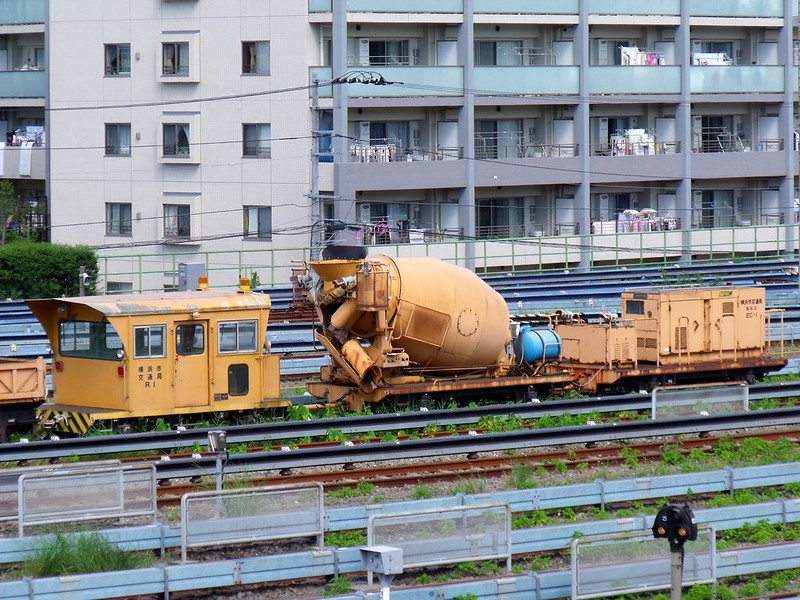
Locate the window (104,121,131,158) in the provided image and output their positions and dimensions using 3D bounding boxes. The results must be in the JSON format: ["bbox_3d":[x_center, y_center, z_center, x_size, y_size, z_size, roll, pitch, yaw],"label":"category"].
[{"bbox_3d":[-11.439,-6.337,75.168,1.356,1.358,0.072,7,15,27],"label":"window"}]

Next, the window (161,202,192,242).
[{"bbox_3d":[-8.968,-2.991,74.329,1.524,1.547,0.085,3,9,20],"label":"window"}]

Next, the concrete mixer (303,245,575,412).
[{"bbox_3d":[0.957,0.917,53.649,8.137,4.040,3.373,0,1,-42],"label":"concrete mixer"}]

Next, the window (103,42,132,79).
[{"bbox_3d":[-11.395,-9.416,74.873,1.470,1.414,0.113,2,8,17],"label":"window"}]

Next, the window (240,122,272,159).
[{"bbox_3d":[-5.721,-6.147,73.475,1.520,1.386,0.506,0,1,10],"label":"window"}]

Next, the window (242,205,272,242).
[{"bbox_3d":[-5.683,-2.897,73.492,1.451,1.489,0.208,1,3,10],"label":"window"}]

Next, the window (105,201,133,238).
[{"bbox_3d":[-11.412,-3.111,75.306,1.457,1.587,0.090,2,5,25],"label":"window"}]

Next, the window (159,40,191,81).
[{"bbox_3d":[-8.960,-9.320,74.020,1.617,1.622,0.145,2,5,18],"label":"window"}]

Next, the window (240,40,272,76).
[{"bbox_3d":[-5.596,-9.352,73.792,1.619,1.514,1.201,3,5,24],"label":"window"}]

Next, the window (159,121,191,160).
[{"bbox_3d":[-8.994,-6.193,74.253,1.470,1.486,0.094,6,12,32],"label":"window"}]
